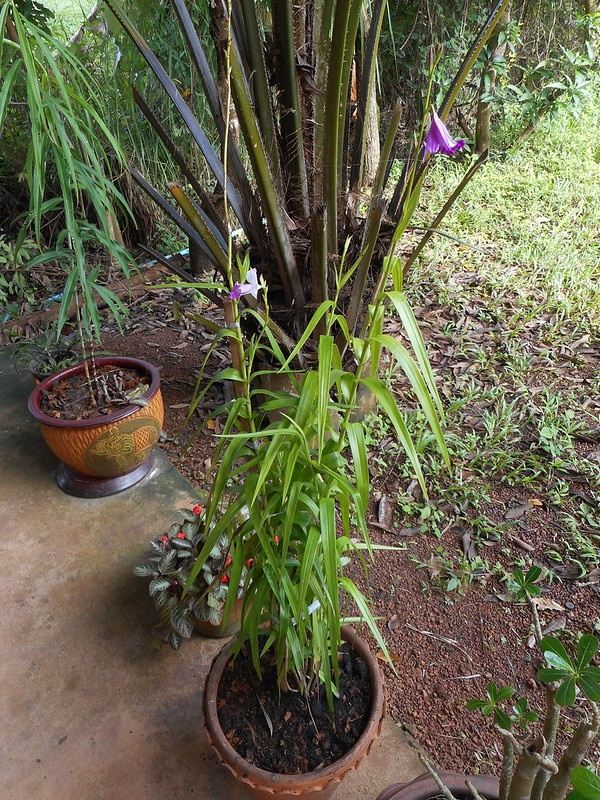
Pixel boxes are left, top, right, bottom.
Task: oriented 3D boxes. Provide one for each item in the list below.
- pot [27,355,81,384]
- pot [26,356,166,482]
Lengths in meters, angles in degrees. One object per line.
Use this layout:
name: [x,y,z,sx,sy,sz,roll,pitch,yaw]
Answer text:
pot: [-0.972,-0.108,2.120,0.145,0.109,0.147,1,44,-1]
pot: [-0.672,0.090,1.849,0.401,0.307,0.418,3,30,-2]
